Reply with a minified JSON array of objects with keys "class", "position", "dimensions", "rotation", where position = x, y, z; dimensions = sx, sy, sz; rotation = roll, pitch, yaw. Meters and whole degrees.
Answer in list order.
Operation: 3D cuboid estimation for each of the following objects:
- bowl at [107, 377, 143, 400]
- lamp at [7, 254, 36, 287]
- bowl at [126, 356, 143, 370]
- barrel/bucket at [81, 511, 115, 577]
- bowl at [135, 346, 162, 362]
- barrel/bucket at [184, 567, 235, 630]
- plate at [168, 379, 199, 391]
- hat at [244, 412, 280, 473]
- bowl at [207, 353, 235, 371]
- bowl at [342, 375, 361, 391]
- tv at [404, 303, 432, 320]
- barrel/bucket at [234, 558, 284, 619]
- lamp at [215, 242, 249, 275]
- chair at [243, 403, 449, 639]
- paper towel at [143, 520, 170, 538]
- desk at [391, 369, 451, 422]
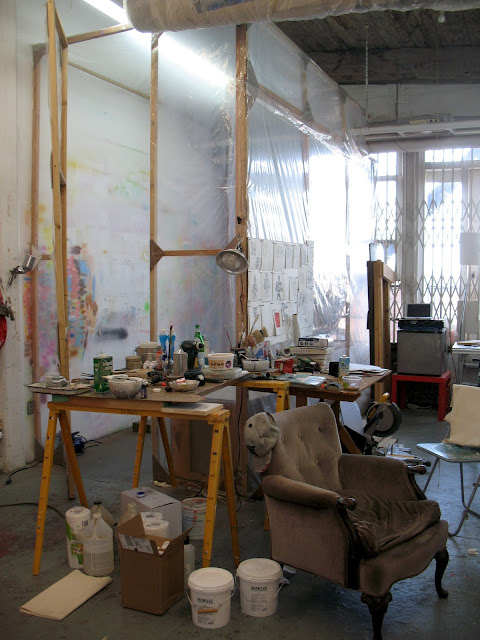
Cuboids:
[{"class":"bowl","position":[-0.508,0.308,2.464],"dimensions":[0.145,0.081,0.119],"rotation":[0,2,-9]},{"class":"lamp","position":[-1.553,-0.360,3.997],"dimensions":[0.141,0.238,0.277],"rotation":[0,2,3]},{"class":"bowl","position":[-0.607,0.244,3.215],"dimensions":[0.077,0.086,0.074],"rotation":[0,-2,0]},{"class":"barrel/bucket","position":[-0.636,0.993,2.463],"dimensions":[0.136,0.281,0.109],"rotation":[0,2,-13]},{"class":"bowl","position":[-0.530,0.191,3.172],"dimensions":[0.112,0.120,0.111],"rotation":[0,-2,0]},{"class":"barrel/bucket","position":[-0.111,1.058,2.119],"dimensions":[0.167,0.184,0.214],"rotation":[0,2,-4]},{"class":"plate","position":[-0.262,0.302,2.530],"dimensions":[0.123,0.045,0.084],"rotation":[1,2,33]},{"class":"hat","position":[0.109,0.535,2.435],"dimensions":[0.179,0.246,0.098],"rotation":[-10,-15,34]},{"class":"bowl","position":[-0.114,0.216,2.976],"dimensions":[0.089,0.049,0.098],"rotation":[-1,2,0]},{"class":"bowl","position":[0.692,0.388,3.422],"dimensions":[0.079,0.059,0.081],"rotation":[0,0,0]},{"class":"tv","position":[1.950,-0.091,6.025],"dimensions":[0.257,0.160,0.274],"rotation":[1,2,18]},{"class":"barrel/bucket","position":[0.081,1.027,2.161],"dimensions":[0.170,0.156,0.170],"rotation":[0,1,0]},{"class":"lamp","position":[-0.047,-0.396,3.507],"dimensions":[0.196,0.205,0.160],"rotation":[0,2,-2]},{"class":"chair","position":[0.487,0.708,2.475],"dimensions":[0.783,1.007,0.757],"rotation":[-7,-5,41]},{"class":"paper towel","position":[-0.367,0.886,2.370],"dimensions":[0.112,0.079,0.119],"rotation":[0,-2,2]},{"class":"desk","position":[2.007,0.730,6.000],"dimensions":[0.549,0.564,0.560],"rotation":[-2,1,-45]}]
